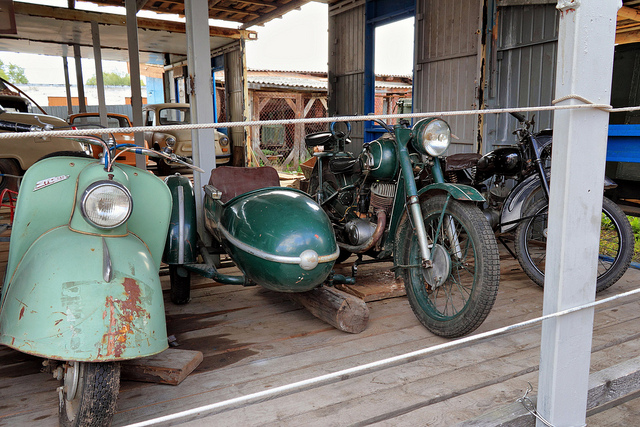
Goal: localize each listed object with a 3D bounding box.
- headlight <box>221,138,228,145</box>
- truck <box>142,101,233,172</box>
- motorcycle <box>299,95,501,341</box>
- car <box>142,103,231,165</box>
[{"bbox_3d":[-1.970,-1.488,9.347,0.114,0.138,0.097,-2,15,5],"label":"headlight"},{"bbox_3d":[-3.113,-1.806,10.132,1.569,1.231,2.758,-7,18,-32],"label":"truck"},{"bbox_3d":[0.693,-0.007,3.393,1.164,1.668,1.924,-7,16,-13],"label":"motorcycle"},{"bbox_3d":[-3.156,-1.770,10.007,1.556,1.197,2.612,-9,19,-36],"label":"car"}]
